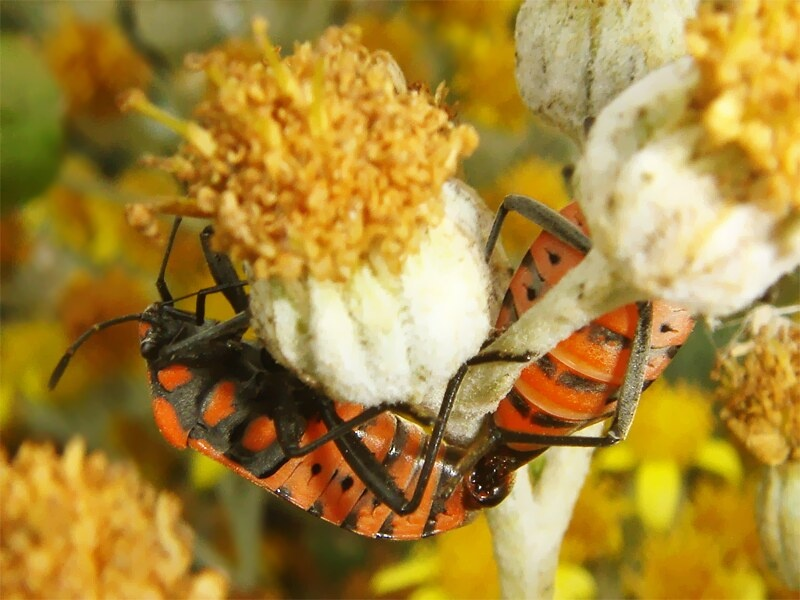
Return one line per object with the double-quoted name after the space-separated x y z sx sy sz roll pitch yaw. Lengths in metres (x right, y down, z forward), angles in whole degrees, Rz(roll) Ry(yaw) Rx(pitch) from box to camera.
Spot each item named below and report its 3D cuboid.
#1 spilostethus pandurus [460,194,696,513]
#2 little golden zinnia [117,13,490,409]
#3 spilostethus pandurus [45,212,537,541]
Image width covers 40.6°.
0.145 0.066 0.921 0.140 0.254 0.141 -24 33 -37 "spilostethus pandurus"
-0.052 -0.009 0.867 0.264 0.379 0.157 -10 17 18 "little golden zinnia"
-0.098 0.104 0.891 0.320 0.232 0.100 38 -36 -6 "spilostethus pandurus"
